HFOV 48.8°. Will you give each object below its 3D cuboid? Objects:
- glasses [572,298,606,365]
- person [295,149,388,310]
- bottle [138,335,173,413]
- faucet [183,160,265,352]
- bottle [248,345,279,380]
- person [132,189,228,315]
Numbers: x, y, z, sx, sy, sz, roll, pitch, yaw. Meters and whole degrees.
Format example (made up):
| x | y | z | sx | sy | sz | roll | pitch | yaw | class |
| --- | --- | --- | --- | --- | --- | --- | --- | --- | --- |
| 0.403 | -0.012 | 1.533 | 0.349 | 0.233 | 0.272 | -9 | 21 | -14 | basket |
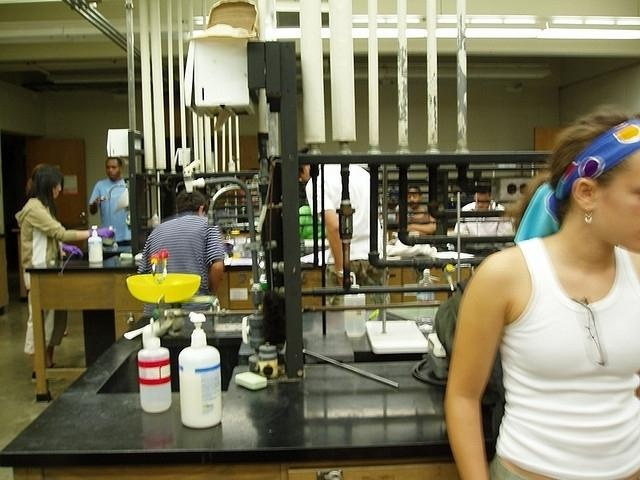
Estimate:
| x | y | z | sx | sy | sz | roll | pitch | yaw | class |
| --- | --- | --- | --- | --- | --- | --- | --- | --- | --- |
| 0.847 | 0.280 | 2.235 | 0.065 | 0.216 | 0.060 | -5 | -10 | -31 | glasses |
| 0.192 | -0.063 | 4.225 | 0.460 | 0.849 | 0.270 | 1 | -5 | -10 | person |
| -0.612 | 0.496 | 2.628 | 0.119 | 0.278 | 0.125 | -1 | 7 | 0 | bottle |
| -0.420 | -0.010 | 3.066 | 0.305 | 0.776 | 0.087 | -6 | 32 | -9 | faucet |
| -0.206 | 0.471 | 2.733 | 0.129 | 0.150 | 0.091 | 5 | 5 | 21 | bottle |
| -0.715 | 0.169 | 4.223 | 0.395 | 0.841 | 0.269 | 16 | 25 | 24 | person |
